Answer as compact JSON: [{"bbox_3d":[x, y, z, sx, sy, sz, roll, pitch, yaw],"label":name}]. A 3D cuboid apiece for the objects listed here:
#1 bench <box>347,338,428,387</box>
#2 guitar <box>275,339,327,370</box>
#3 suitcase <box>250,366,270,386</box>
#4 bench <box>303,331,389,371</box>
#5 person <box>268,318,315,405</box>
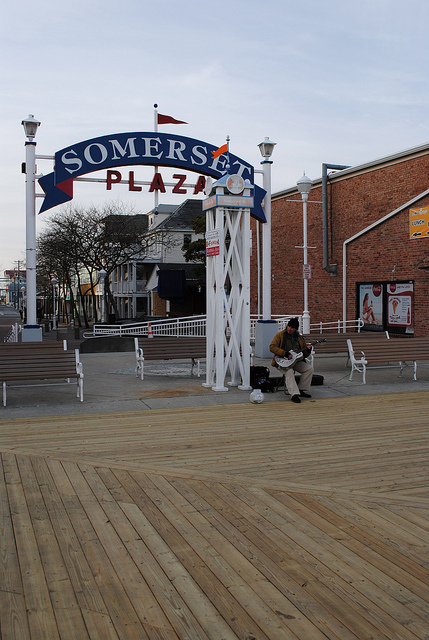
[{"bbox_3d":[3.270,0.764,12.465,1.989,0.749,0.907,-2,2,-29],"label":"bench"},{"bbox_3d":[1.356,0.530,10.459,0.799,0.321,0.093,-30,-18,-28],"label":"guitar"},{"bbox_3d":[0.761,0.991,11.406,0.316,0.311,0.790,0,2,3],"label":"suitcase"},{"bbox_3d":[2.972,0.604,14.325,2.479,0.534,0.477,3,18,36],"label":"bench"},{"bbox_3d":[1.210,0.605,10.491,0.663,1.236,1.482,0,2,8],"label":"person"}]
